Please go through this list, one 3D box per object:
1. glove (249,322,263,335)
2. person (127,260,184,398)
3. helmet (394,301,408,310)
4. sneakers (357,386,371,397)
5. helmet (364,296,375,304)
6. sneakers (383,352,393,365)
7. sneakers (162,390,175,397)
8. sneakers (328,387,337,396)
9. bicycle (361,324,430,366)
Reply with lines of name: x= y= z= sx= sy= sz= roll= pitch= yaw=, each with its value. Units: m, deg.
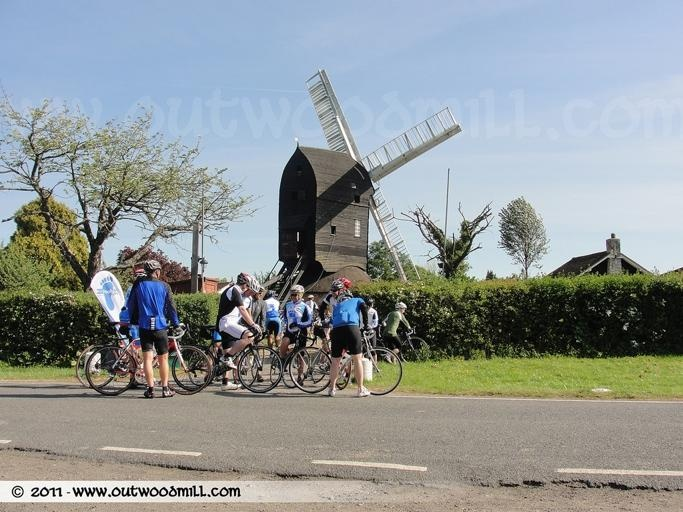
glove: x=-1.882 y=1.646 z=18.225 sx=0.254 sy=0.230 sz=0.385 roll=-2 pitch=-5 yaw=-7
person: x=-4.000 y=1.548 z=17.428 sx=1.052 sy=2.978 sz=0.654 roll=-1 pitch=-5 yaw=-11
helmet: x=1.786 y=1.509 z=24.299 sx=0.264 sy=0.227 sz=0.205 roll=3 pitch=21 yaw=-1
sneakers: x=0.533 y=2.968 z=17.809 sx=0.162 sy=0.213 sz=0.388 roll=-6 pitch=-6 yaw=39
helmet: x=0.795 y=1.355 z=23.827 sx=0.263 sy=0.270 sz=0.216 roll=3 pitch=14 yaw=8
sneakers: x=1.137 y=2.495 z=19.690 sx=0.127 sy=0.167 sz=0.391 roll=-5 pitch=-27 yaw=13
sneakers: x=-3.708 y=2.977 z=17.506 sx=0.103 sy=0.128 sz=0.284 roll=-1 pitch=-5 yaw=12
sneakers: x=-0.206 y=3.001 z=17.915 sx=0.123 sy=0.165 sz=0.379 roll=1 pitch=-13 yaw=-2
bicycle: x=1.599 y=2.750 z=24.858 sx=2.261 sy=1.478 sz=1.129 roll=0 pitch=-6 yaw=1
